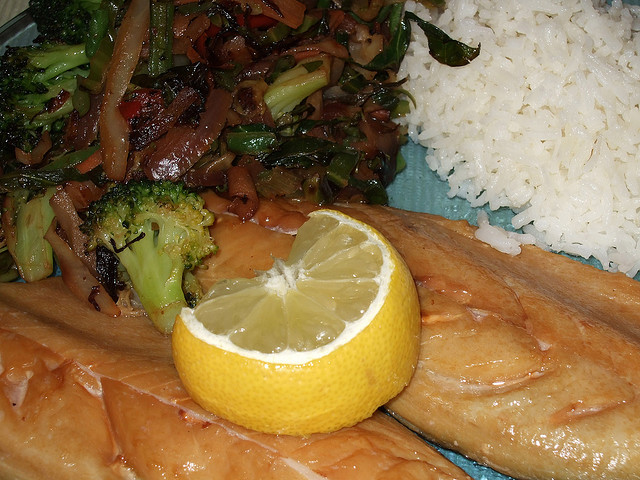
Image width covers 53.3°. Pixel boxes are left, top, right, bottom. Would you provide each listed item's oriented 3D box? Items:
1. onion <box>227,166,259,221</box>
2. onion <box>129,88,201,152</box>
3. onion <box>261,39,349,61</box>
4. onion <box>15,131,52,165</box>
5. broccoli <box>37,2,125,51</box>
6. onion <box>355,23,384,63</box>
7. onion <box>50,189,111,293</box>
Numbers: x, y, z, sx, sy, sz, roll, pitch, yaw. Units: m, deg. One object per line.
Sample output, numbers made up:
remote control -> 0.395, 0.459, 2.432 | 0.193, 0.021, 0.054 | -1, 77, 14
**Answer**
onion -> -0.351, -0.207, 2.940 | 0.117, 0.094, 0.246 | -11, 81, 1
onion -> -0.696, -0.574, 2.870 | 0.290, 0.084, 0.072 | 24, 50, 26
onion -> -0.088, -0.897, 2.983 | 0.320, 0.078, 0.095 | -5, 72, -7
onion -> -1.292, -0.414, 2.907 | 0.168, 0.057, 0.098 | -29, 75, -19
broccoli -> -1.066, -0.964, 2.892 | 0.280, 0.088, 0.280 | -43, 60, -11
onion -> 0.231, -0.968, 3.123 | 0.168, 0.101, 0.118 | 23, 66, 1
onion -> -1.122, -0.028, 2.897 | 0.106, 0.083, 0.519 | -7, 45, -25
